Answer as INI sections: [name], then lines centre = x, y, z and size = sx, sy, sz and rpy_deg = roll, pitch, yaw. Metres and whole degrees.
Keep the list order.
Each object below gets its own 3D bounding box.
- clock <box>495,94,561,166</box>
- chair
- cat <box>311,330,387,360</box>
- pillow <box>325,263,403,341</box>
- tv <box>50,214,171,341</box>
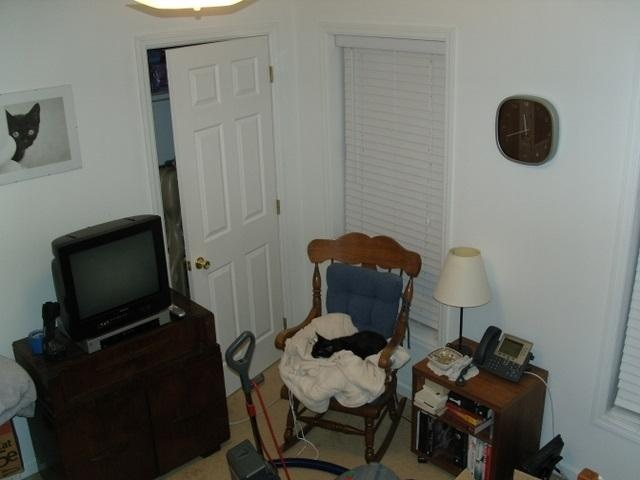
[clock]
centre = 1.169, -0.632, 2.795
size = 0.048, 0.403, 0.384
rpy_deg = -23, 29, -25
[chair]
centre = 0.243, 0.702, 3.605
size = 0.864, 1.438, 1.064
rpy_deg = 8, 19, 21
[cat]
centre = 0.199, 0.707, 3.317
size = 0.368, 0.148, 0.225
rpy_deg = -3, 4, 3
[pillow]
centre = 0.307, 0.495, 3.599
size = 0.642, 0.692, 0.205
rpy_deg = -8, 1, 23
[tv]
centre = -1.261, 0.239, 2.898
size = 0.572, 0.563, 0.326
rpy_deg = -20, 25, -37
